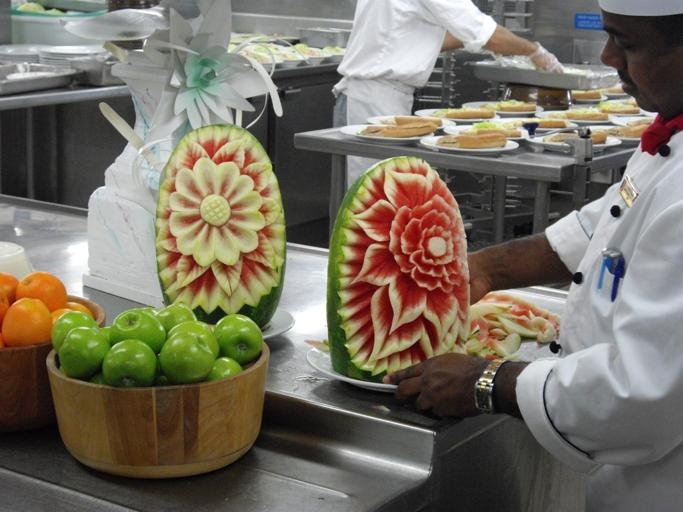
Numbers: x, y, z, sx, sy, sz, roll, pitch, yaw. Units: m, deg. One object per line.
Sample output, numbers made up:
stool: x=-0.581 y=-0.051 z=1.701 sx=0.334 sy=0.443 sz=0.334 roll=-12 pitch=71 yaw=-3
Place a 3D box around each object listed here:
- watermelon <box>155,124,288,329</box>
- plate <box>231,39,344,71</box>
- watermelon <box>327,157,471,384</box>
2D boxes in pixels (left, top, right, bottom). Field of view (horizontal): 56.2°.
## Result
watermelon: x=-0.201 y=-0.044 z=1.046 sx=0.223 sy=0.319 sz=0.123 roll=-2 pitch=-10 yaw=-3
plate: x=-0.389 y=-1.416 z=4.454 sx=0.617 sy=0.224 sz=1.335 roll=7 pitch=16 yaw=13
watermelon: x=0.072 y=0.022 z=1.003 sx=0.226 sy=0.321 sz=0.182 roll=-3 pitch=23 yaw=-12
